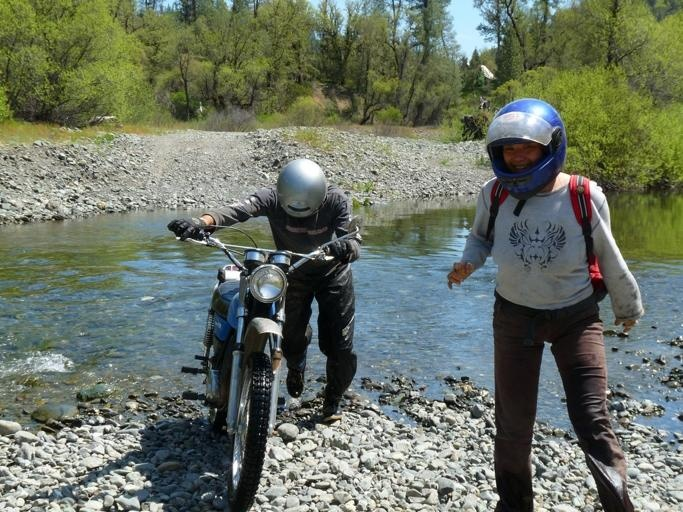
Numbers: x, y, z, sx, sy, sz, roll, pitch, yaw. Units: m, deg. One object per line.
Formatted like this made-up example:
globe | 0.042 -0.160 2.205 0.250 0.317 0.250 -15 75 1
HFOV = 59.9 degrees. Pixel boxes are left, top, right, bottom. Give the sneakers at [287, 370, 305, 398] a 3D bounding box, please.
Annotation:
sneakers | -0.531 1.437 6.729 0.203 0.326 0.131 3 -4 15

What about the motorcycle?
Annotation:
motorcycle | -0.834 0.868 5.095 0.992 2.135 1.646 -3 11 -28
